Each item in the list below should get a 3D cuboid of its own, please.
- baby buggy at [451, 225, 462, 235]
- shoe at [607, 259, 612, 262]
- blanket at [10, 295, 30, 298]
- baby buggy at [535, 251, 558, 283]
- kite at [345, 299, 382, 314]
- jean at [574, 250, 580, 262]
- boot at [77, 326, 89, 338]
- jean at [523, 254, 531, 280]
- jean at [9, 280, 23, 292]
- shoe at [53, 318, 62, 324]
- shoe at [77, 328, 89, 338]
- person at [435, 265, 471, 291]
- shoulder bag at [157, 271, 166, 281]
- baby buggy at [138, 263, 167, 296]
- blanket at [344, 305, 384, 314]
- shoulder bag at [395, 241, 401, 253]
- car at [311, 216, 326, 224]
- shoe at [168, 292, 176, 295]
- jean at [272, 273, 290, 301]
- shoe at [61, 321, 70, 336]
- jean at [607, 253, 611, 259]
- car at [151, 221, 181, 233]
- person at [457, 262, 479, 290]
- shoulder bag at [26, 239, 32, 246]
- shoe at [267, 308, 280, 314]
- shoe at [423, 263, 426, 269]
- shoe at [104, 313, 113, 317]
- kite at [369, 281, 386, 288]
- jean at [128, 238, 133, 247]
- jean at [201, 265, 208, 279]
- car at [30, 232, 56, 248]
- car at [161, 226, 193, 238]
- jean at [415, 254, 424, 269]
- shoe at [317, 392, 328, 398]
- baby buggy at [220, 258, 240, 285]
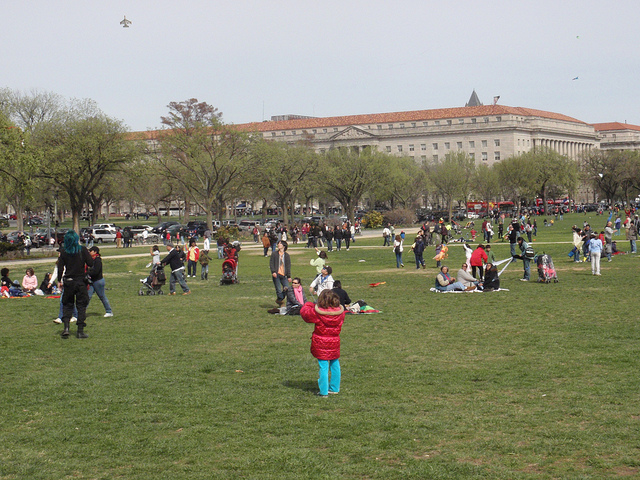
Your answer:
[{"bbox_3d":[9.883,-0.676,72.337,0.377,0.409,1.147,34,10,34],"label":"baby buggy"},{"bbox_3d":[12.710,0.923,43.727,0.153,0.112,0.801,-2,-1,18],"label":"shoe"},{"bbox_3d":[-10.248,1.958,34.168,0.605,0.071,0.343,-2,-1,-20],"label":"blanket"},{"bbox_3d":[8.258,1.076,36.321,0.816,1.014,0.812,2,4,33],"label":"baby buggy"},{"bbox_3d":[1.306,2.095,30.909,1.002,0.396,0.735,-2,-1,-1],"label":"kite"},{"bbox_3d":[11.350,0.727,44.112,0.212,0.531,0.572,-2,-1,13],"label":"jean"},{"bbox_3d":[-6.527,2.557,27.292,0.163,0.341,0.353,6,9,42],"label":"boot"},{"bbox_3d":[7.774,1.031,37.509,0.287,0.944,1.360,-2,-1,11],"label":"jean"},{"bbox_3d":[-10.643,1.612,34.853,0.397,0.559,0.213,-1,8,4],"label":"jean"},{"bbox_3d":[-7.571,2.340,28.624,0.286,0.131,0.126,6,0,31],"label":"shoe"},{"bbox_3d":[-6.512,2.577,27.354,0.129,0.287,0.355,9,15,41],"label":"shoe"},{"bbox_3d":[4.626,1.334,34.660,1.122,0.789,0.664,-1,9,11],"label":"person"},{"bbox_3d":[-5.499,1.282,34.654,0.315,0.305,0.281,1,-11,-30],"label":"shoulder bag"},{"bbox_3d":[-5.839,1.404,34.914,0.892,1.094,0.751,0,-4,21],"label":"baby buggy"},{"bbox_3d":[1.362,2.170,30.846,1.159,0.256,0.547,-2,-1,-21],"label":"blanket"},{"bbox_3d":[3.388,0.372,43.672,0.299,0.406,0.232,2,-2,-4],"label":"shoulder bag"},{"bbox_3d":[-0.163,-2.047,96.893,1.710,0.839,1.045,3,0,-5],"label":"car"},{"bbox_3d":[-5.128,1.889,34.738,0.234,0.102,0.080,4,1,12],"label":"shoe"},{"bbox_3d":[-1.193,1.489,31.287,0.475,0.809,1.240,-2,-1,-2],"label":"jean"},{"bbox_3d":[-7.009,2.446,27.457,0.212,0.349,0.581,-2,-1,-15],"label":"shoe"},{"bbox_3d":[12.580,0.704,43.552,0.166,0.291,0.219,-6,6,-16],"label":"jean"},{"bbox_3d":[-12.538,-0.993,81.432,1.924,0.879,2.871,-2,6,-13],"label":"car"},{"bbox_3d":[5.264,1.331,34.621,0.905,0.956,0.596,0,4,15],"label":"person"},{"bbox_3d":[-17.740,0.186,60.842,0.148,0.403,0.442,-4,1,11],"label":"shoulder bag"},{"bbox_3d":[-1.424,2.221,30.766,0.244,0.153,0.470,-2,-1,-29],"label":"shoe"},{"bbox_3d":[4.547,1.158,43.371,0.082,0.247,0.107,-1,-11,-11],"label":"shoe"},{"bbox_3d":[-6.363,2.273,30.048,0.259,0.113,0.095,1,2,1],"label":"shoe"},{"bbox_3d":[2.101,1.684,36.828,0.499,0.194,1.327,-2,-1,8],"label":"kite"},{"bbox_3d":[-12.452,0.200,65.550,0.137,0.609,0.164,2,-15,-6],"label":"jean"},{"bbox_3d":[-4.660,1.330,40.146,0.240,0.490,0.467,-2,-1,-9],"label":"jean"},{"bbox_3d":[-18.472,0.083,66.563,0.903,0.790,1.580,-5,10,-36],"label":"car"},{"bbox_3d":[-9.777,-0.493,68.871,2.566,0.890,1.249,2,2,19],"label":"car"},{"bbox_3d":[4.330,0.952,43.224,0.328,0.606,0.826,-2,-1,7],"label":"jean"},{"bbox_3d":[0.053,3.653,23.402,0.277,0.092,0.099,-3,-1,33],"label":"shoe"},{"bbox_3d":[-3.460,1.206,37.703,0.648,1.003,0.935,0,-3,2],"label":"baby buggy"}]
